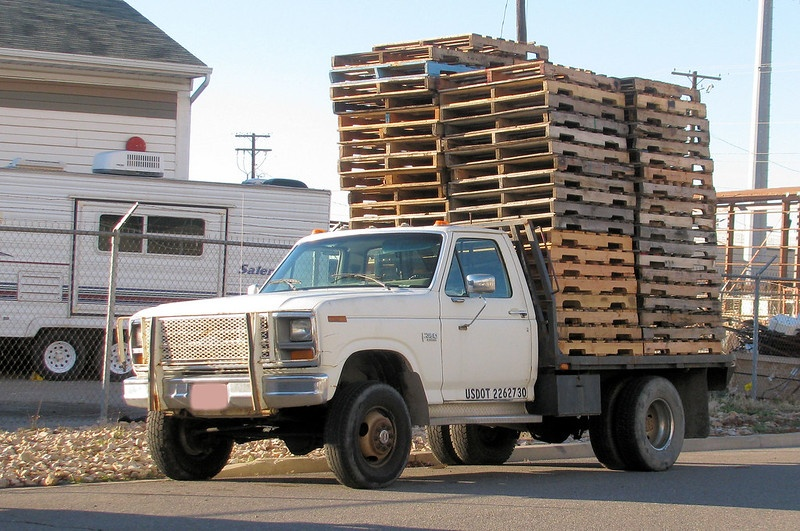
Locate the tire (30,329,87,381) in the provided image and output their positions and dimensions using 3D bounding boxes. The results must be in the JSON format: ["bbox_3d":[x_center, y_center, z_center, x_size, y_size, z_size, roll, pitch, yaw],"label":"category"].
[{"bbox_3d":[-7.101,1.850,19.917,1.309,1.123,0.430,0,-1,3],"label":"tire"}]

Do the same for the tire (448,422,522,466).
[{"bbox_3d":[1.205,2.625,13.971,1.121,0.977,0.347,-2,2,-30],"label":"tire"}]

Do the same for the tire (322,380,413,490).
[{"bbox_3d":[-0.379,2.005,11.385,1.386,1.337,0.535,11,-14,-36],"label":"tire"}]

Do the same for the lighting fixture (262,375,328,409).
[{"bbox_3d":[-1.171,1.455,10.966,0.587,0.246,0.427,-1,-1,24],"label":"lighting fixture"}]

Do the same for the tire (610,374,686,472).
[{"bbox_3d":[3.503,2.283,13.619,1.463,1.291,0.499,-7,5,-38],"label":"tire"}]

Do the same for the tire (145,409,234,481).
[{"bbox_3d":[-2.654,2.290,12.129,1.116,0.986,0.383,6,-16,-41],"label":"tire"}]

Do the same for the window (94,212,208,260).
[{"bbox_3d":[-5.186,-0.649,20.073,0.081,0.900,2.602,14,11,40],"label":"window"}]

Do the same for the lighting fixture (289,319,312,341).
[{"bbox_3d":[-1.123,0.759,11.062,0.278,0.240,0.197,-1,-4,19],"label":"lighting fixture"}]

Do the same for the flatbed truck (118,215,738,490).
[{"bbox_3d":[0.425,1.275,13.008,6.889,2.552,3.807,5,-9,-39],"label":"flatbed truck"}]
